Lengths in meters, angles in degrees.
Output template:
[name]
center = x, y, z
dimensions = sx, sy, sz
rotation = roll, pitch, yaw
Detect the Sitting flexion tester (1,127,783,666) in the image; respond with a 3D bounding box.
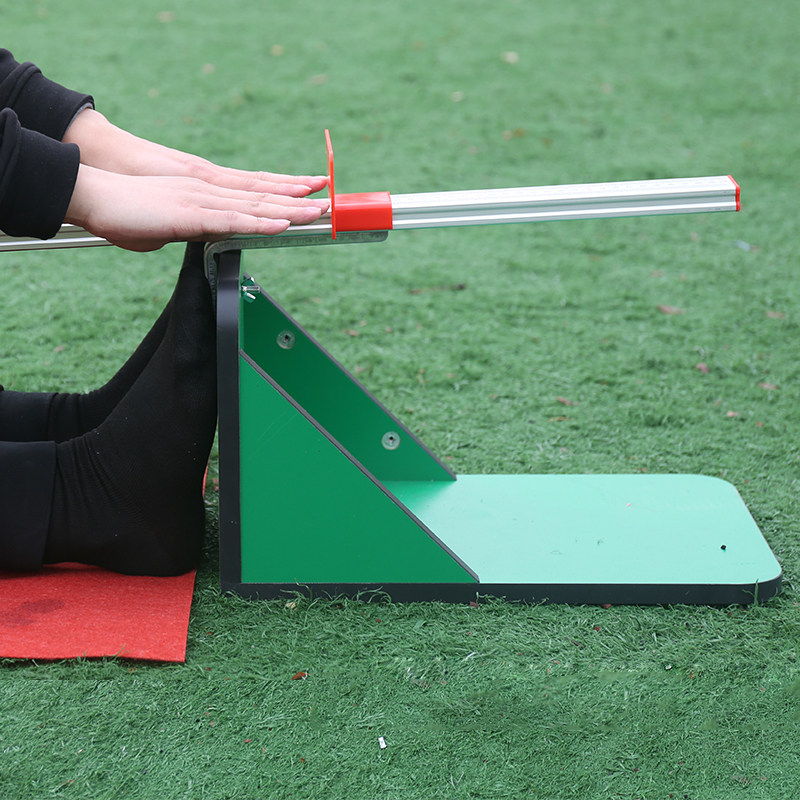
[Sitting flexion tester]
center = -0.033, -0.092, 2.139
dimensions = 1.542, 0.804, 0.718
rotation = -1, 24, -4
